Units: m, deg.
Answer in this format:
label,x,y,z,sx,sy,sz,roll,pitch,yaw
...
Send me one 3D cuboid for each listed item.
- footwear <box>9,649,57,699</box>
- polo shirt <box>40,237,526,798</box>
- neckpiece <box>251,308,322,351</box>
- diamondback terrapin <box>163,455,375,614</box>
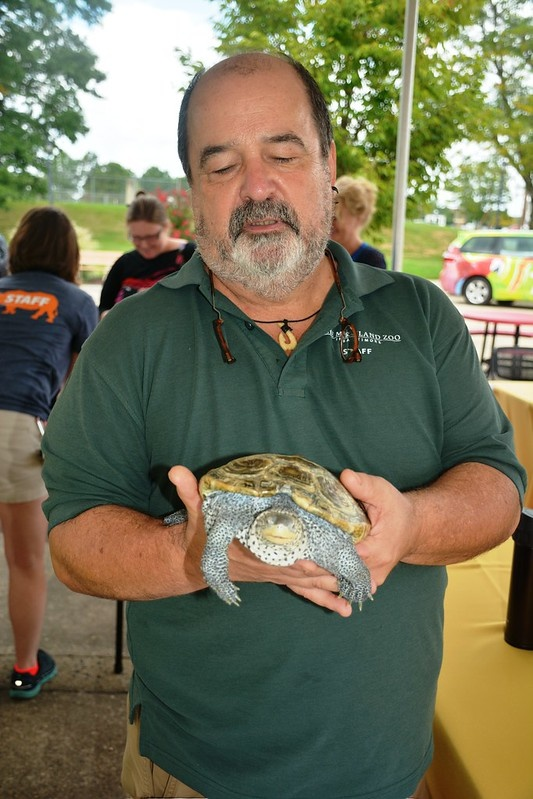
label,x,y,z,sx,sy,sz,roll,pitch,yaw
footwear,-1.104,1.283,3.330,0.156,0.137,0.337,2,6,5
polo shirt,0.057,0.273,1.654,1.110,1.152,0.663,-2,16,-14
neckpiece,0.043,-0.165,1.685,0.181,0.017,0.157,-4,34,-2
diamondback terrapin,0.018,0.230,1.509,0.460,0.185,0.534,17,11,-3
